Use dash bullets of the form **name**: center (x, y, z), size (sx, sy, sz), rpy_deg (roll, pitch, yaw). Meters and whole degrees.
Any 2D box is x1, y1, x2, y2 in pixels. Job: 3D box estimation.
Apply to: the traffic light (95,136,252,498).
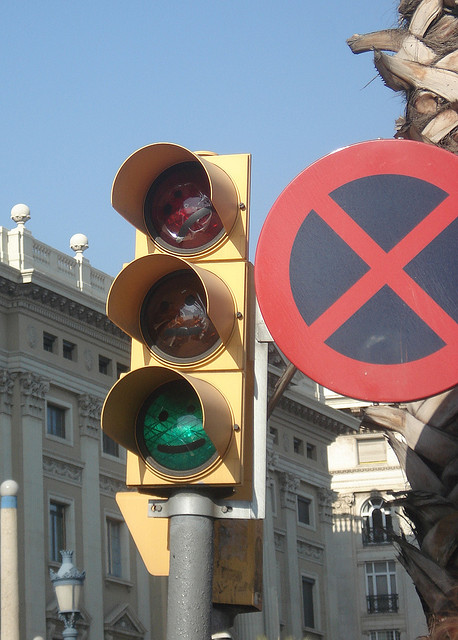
- **traffic light**: center (-0.235, -0.016, 8.420), size (0.794, 1.728, 0.437), rpy_deg (-8, -20, 9)
